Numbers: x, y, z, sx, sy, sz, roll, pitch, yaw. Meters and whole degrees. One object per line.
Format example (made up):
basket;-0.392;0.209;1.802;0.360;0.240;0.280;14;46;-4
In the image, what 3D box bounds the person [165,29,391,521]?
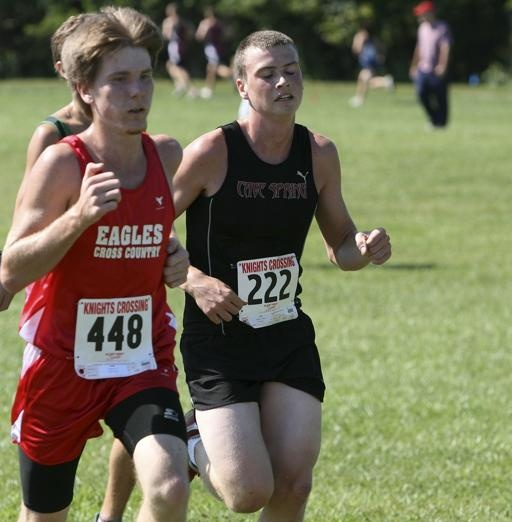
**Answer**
person;0.041;0.107;3.698;0.796;2.055;1.089;5;12;16
